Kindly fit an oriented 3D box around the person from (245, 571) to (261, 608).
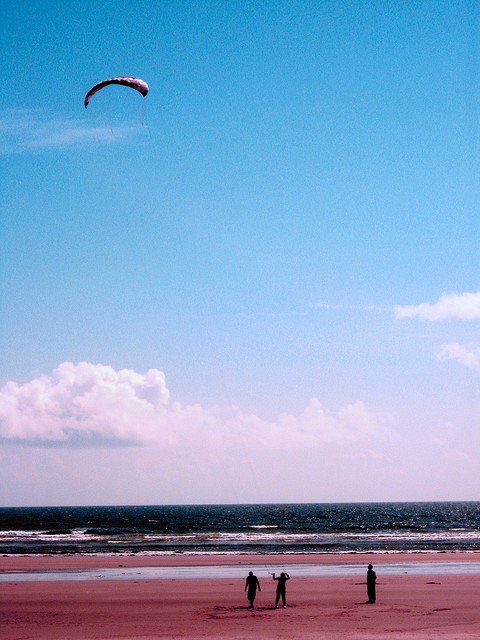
[{"bbox_3d":[0.517,10.870,54.457,0.567,1.343,1.644,1,-17,0],"label":"person"}]
